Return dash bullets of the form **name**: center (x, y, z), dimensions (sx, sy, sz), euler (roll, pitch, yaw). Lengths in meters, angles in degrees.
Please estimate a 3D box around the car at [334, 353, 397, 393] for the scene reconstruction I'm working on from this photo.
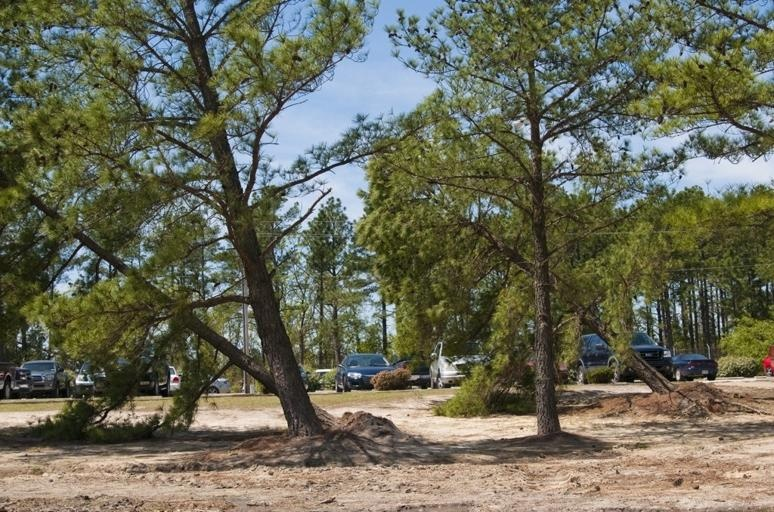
- **car**: center (-1.030, 5.188, 39.539), dimensions (1.863, 1.836, 2.904), euler (2, -15, -22)
